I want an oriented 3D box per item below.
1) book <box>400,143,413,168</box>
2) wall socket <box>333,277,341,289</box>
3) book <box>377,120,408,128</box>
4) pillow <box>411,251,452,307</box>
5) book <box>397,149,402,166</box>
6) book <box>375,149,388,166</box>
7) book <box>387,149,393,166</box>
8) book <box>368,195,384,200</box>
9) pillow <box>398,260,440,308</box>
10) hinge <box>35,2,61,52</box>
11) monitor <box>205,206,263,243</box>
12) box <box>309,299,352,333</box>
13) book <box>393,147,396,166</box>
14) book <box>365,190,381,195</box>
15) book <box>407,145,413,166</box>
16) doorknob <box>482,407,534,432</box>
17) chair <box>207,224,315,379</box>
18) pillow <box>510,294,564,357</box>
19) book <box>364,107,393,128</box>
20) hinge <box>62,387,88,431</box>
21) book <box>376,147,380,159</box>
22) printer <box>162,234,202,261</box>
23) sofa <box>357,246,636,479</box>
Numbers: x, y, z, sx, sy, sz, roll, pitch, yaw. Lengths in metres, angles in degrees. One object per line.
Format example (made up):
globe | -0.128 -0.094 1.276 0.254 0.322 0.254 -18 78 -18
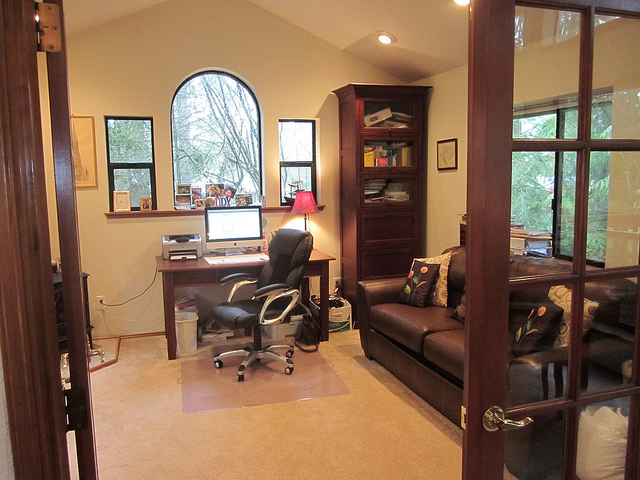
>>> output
book | 0.921 -0.913 5.265 0.157 0.218 0.061 -5 11 -23
wall socket | 0.185 0.482 5.538 0.085 0.129 0.028 0 10 0
book | 0.766 -1.223 5.163 0.337 0.072 0.076 -4 11 -20
pillow | 0.925 0.343 4.054 0.153 0.434 0.410 23 -13 -30
book | 0.848 -0.883 5.248 0.047 0.164 0.037 0 10 3
book | 0.633 -0.865 5.158 0.132 0.168 0.075 -2 11 -11
book | 0.741 -0.881 5.236 0.057 0.164 0.057 -1 10 -2
book | 0.584 -0.454 5.228 0.155 0.044 0.024 -6 12 -30
pillow | 0.825 0.353 4.071 0.104 0.336 0.355 28 -18 -13
hinge | -0.696 -0.541 1.254 0.057 0.120 0.020 -6 12 -27
monitor | -0.863 -0.133 4.860 0.635 0.443 0.154 -4 10 -38
box | 0.156 0.801 4.967 0.335 0.213 0.342 -1 5 -18
book | 0.791 -0.893 5.248 0.028 0.184 0.058 0 10 3
book | 0.544 -0.509 5.202 0.195 0.045 0.026 -8 13 -39
book | 0.967 -0.912 5.279 0.050 0.211 0.055 1 11 7
doorknob | 0.531 0.503 1.387 0.063 0.066 0.115 -3 -3 -38
chair | -0.544 0.466 4.385 0.911 1.161 1.199 -3 11 -14
pillow | 0.630 0.247 1.427 0.171 0.175 0.025 -5 11 -23
book | 0.601 -1.272 5.098 0.338 0.189 0.063 -5 11 -24
hinge | -0.657 0.451 1.326 0.024 0.097 0.101 1 -2 -41
book | 0.603 -0.914 5.159 0.033 0.110 0.042 1 10 6
printer | -1.345 0.065 4.770 0.356 0.206 0.309 -3 11 -17
sofa | 0.676 0.557 2.055 0.523 0.609 1.197 -1 7 -14
